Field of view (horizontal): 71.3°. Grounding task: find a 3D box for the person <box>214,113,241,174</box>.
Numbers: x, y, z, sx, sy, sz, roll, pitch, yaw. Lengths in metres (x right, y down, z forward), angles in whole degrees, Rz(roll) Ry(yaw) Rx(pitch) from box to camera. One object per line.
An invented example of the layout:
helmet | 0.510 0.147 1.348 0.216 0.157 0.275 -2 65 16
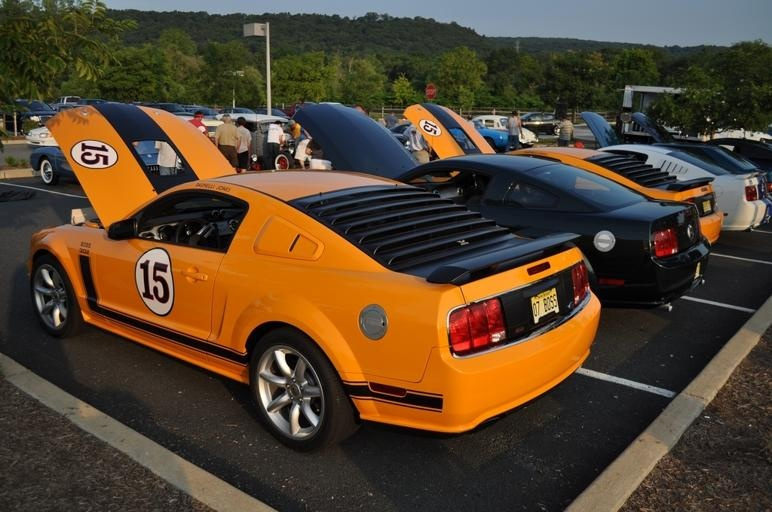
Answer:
person | -4.501 -3.136 15.233 0.737 1.707 0.520 4 32 -13
